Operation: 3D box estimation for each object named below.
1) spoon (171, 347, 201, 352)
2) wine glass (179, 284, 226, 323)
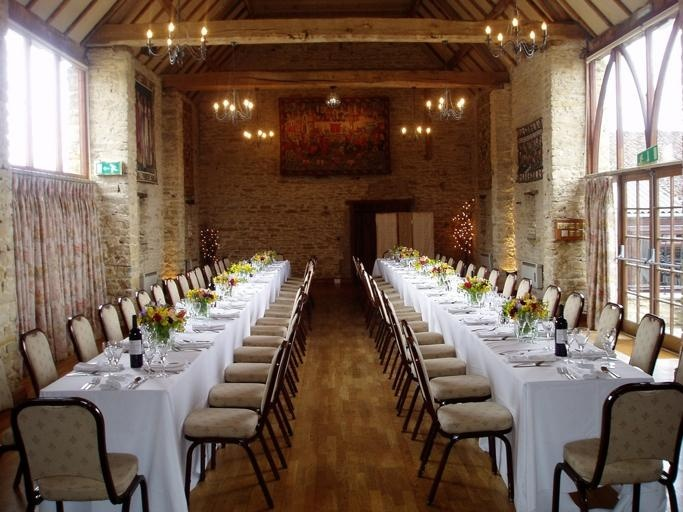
[{"bbox_3d":[-1.441,0.848,4.648,0.195,0.038,0.035,-2,48,-6],"label":"spoon"},{"bbox_3d":[-1.642,0.534,5.858,0.360,0.368,0.384,-1,-1,-5],"label":"wine glass"}]
